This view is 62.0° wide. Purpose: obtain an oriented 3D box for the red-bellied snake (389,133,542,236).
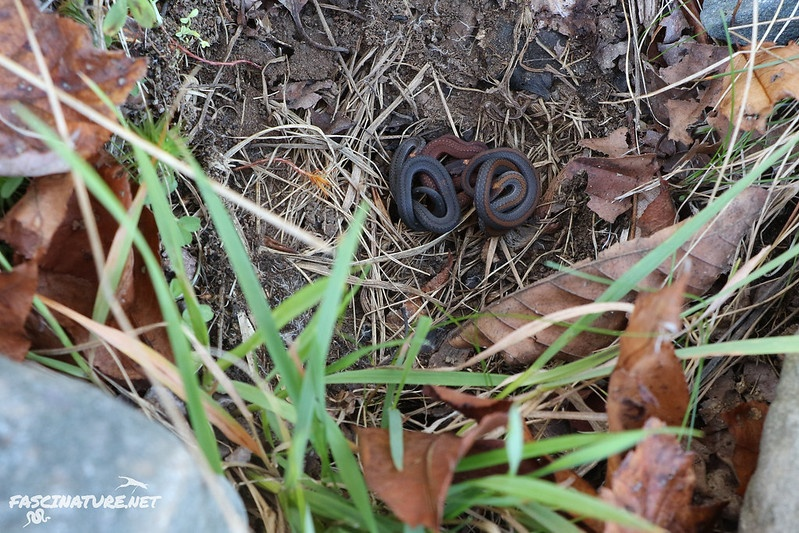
[{"bbox_3d":[0.281,-0.379,2.916,0.569,0.174,0.437,-13,86,0],"label":"red-bellied snake"}]
